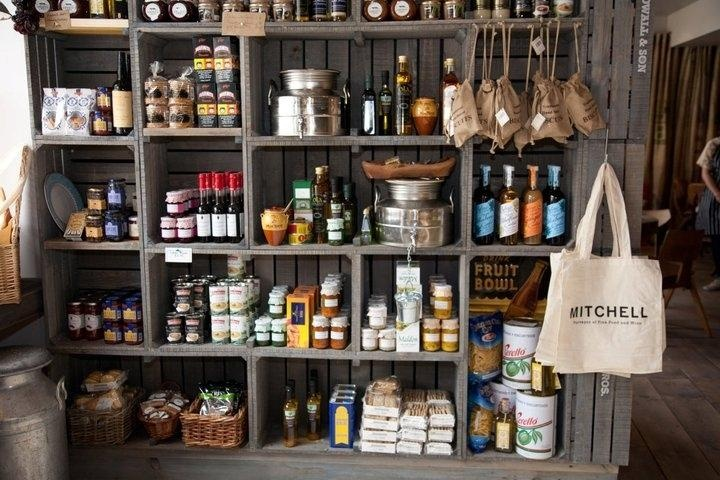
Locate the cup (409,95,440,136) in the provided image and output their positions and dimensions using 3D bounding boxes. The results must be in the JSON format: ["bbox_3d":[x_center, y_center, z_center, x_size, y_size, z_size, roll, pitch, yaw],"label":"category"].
[{"bbox_3d":[0.403,-0.758,4.325,0.183,0.218,0.185,0,10,0],"label":"cup"}]

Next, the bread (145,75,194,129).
[{"bbox_3d":[-1.156,-0.831,4.330,0.287,0.310,0.309,0,-1,-3],"label":"bread"}]

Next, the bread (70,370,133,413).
[{"bbox_3d":[-1.686,0.988,4.532,0.210,0.101,0.277,1,9,-3],"label":"bread"}]

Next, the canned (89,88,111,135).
[{"bbox_3d":[-1.622,-0.798,4.377,0.136,0.293,0.052,-3,5,-11],"label":"canned"}]

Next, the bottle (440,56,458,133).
[{"bbox_3d":[0.555,-0.855,4.236,0.114,0.460,0.215,-2,5,7],"label":"bottle"}]

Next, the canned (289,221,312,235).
[{"bbox_3d":[-0.375,-0.069,4.386,0.148,0.071,0.053,-3,5,-6],"label":"canned"}]

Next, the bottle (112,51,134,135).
[{"bbox_3d":[-1.498,-0.913,4.384,0.128,0.513,0.173,-4,5,-20],"label":"bottle"}]

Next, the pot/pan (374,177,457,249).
[{"bbox_3d":[0.338,-0.158,4.260,0.425,0.373,0.428,0,2,0],"label":"pot/pan"}]

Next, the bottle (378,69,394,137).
[{"bbox_3d":[0.159,-0.840,4.347,0.095,0.378,0.138,-2,5,3],"label":"bottle"}]

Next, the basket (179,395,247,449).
[{"bbox_3d":[-0.930,1.182,4.477,0.381,0.285,0.193,-1,5,10],"label":"basket"}]

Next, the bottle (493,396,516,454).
[{"bbox_3d":[0.917,1.156,4.407,0.126,0.342,0.110,-1,5,11],"label":"bottle"}]

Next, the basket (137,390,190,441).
[{"bbox_3d":[-1.271,1.144,4.612,0.311,0.187,0.408,1,12,21],"label":"basket"}]

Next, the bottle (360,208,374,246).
[{"bbox_3d":[0.048,-0.088,4.418,0.078,0.226,0.197,-2,5,1],"label":"bottle"}]

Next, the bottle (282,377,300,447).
[{"bbox_3d":[-0.457,1.115,4.527,0.094,0.402,0.178,-3,5,-7],"label":"bottle"}]

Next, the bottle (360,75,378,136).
[{"bbox_3d":[0.057,-0.822,4.319,0.094,0.364,0.139,-3,5,-4],"label":"bottle"}]

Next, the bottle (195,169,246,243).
[{"bbox_3d":[-0.876,-0.195,4.371,0.299,0.433,0.136,-3,5,-14],"label":"bottle"}]

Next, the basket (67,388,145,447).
[{"bbox_3d":[-1.635,1.148,4.744,0.397,0.246,0.596,-6,9,12],"label":"basket"}]

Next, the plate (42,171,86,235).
[{"bbox_3d":[-1.937,-0.193,4.469,0.048,0.424,0.422,-20,43,-7],"label":"plate"}]

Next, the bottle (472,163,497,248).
[{"bbox_3d":[0.785,-0.210,4.329,0.120,0.476,0.171,3,7,45],"label":"bottle"}]

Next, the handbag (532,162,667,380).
[{"bbox_3d":[1.391,0.170,4.060,0.724,1.229,0.198,-1,5,14],"label":"handbag"}]

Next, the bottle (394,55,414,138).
[{"bbox_3d":[0.292,-0.883,4.328,0.179,0.471,0.110,-7,7,-43],"label":"bottle"}]

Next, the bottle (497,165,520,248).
[{"bbox_3d":[0.907,-0.206,4.279,0.131,0.474,0.097,-2,5,6],"label":"bottle"}]

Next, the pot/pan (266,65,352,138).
[{"bbox_3d":[-0.324,-0.847,4.437,0.507,0.389,0.502,2,10,11],"label":"pot/pan"}]
